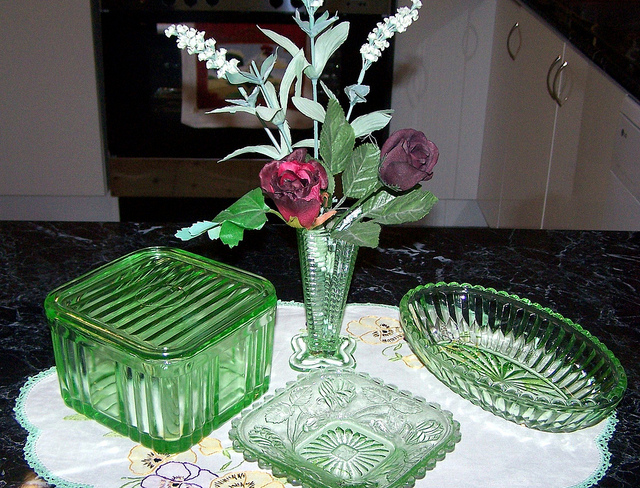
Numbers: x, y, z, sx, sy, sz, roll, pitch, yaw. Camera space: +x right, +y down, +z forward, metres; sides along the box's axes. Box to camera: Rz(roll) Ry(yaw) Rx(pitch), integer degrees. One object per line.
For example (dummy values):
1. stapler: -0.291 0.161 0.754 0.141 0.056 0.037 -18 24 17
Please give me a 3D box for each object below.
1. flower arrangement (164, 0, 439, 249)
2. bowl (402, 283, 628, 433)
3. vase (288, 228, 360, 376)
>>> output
1. flower arrangement: 0.003 -0.136 0.801 0.375 0.378 0.342 7 26 36
2. bowl: 0.260 0.154 0.758 0.296 0.112 0.260 8 13 9
3. vase: 0.007 0.092 0.782 0.122 0.226 0.115 3 30 -7
